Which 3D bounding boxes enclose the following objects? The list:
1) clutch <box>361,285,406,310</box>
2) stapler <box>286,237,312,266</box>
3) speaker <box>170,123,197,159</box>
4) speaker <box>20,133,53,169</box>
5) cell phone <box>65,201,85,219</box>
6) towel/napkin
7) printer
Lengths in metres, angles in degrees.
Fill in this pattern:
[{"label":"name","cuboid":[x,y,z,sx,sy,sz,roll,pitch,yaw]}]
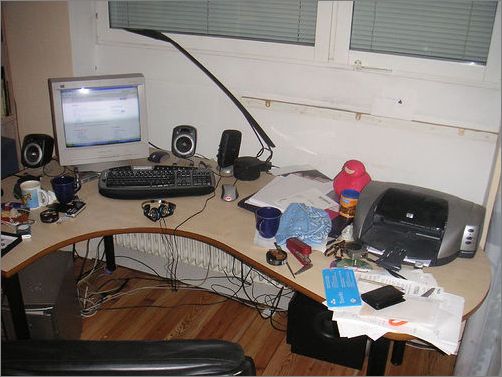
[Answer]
[{"label":"clutch","cuboid":[0.486,0.396,1.524,0.152,0.040,0.081,-6,24,-20]},{"label":"stapler","cuboid":[0.188,0.242,1.755,0.048,0.085,0.159,-18,41,-22]},{"label":"speaker","cuboid":[-0.387,-0.269,2.426,0.157,0.228,0.116,6,26,0]},{"label":"speaker","cuboid":[-1.169,-0.201,2.290,0.159,0.223,0.120,12,11,0]},{"label":"cell phone","cuboid":[-0.836,0.096,1.983,0.057,0.018,0.078,5,29,6]},{"label":"towel/napkin","cuboid":[0.233,0.160,1.825,0.185,0.057,0.188,13,51,14]},{"label":"printer","cuboid":[0.701,0.151,1.752,0.403,0.138,0.354,18,42,24]}]
